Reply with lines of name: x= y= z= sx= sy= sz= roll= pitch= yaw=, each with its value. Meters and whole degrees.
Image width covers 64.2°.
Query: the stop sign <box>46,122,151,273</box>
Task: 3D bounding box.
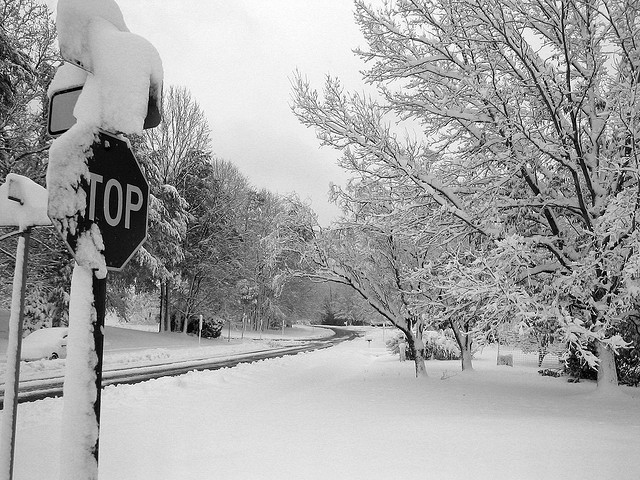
stop sign: x=-2.268 y=-0.440 z=5.296 sx=0.966 sy=1.498 sz=0.125 roll=2 pitch=-3 yaw=-33
